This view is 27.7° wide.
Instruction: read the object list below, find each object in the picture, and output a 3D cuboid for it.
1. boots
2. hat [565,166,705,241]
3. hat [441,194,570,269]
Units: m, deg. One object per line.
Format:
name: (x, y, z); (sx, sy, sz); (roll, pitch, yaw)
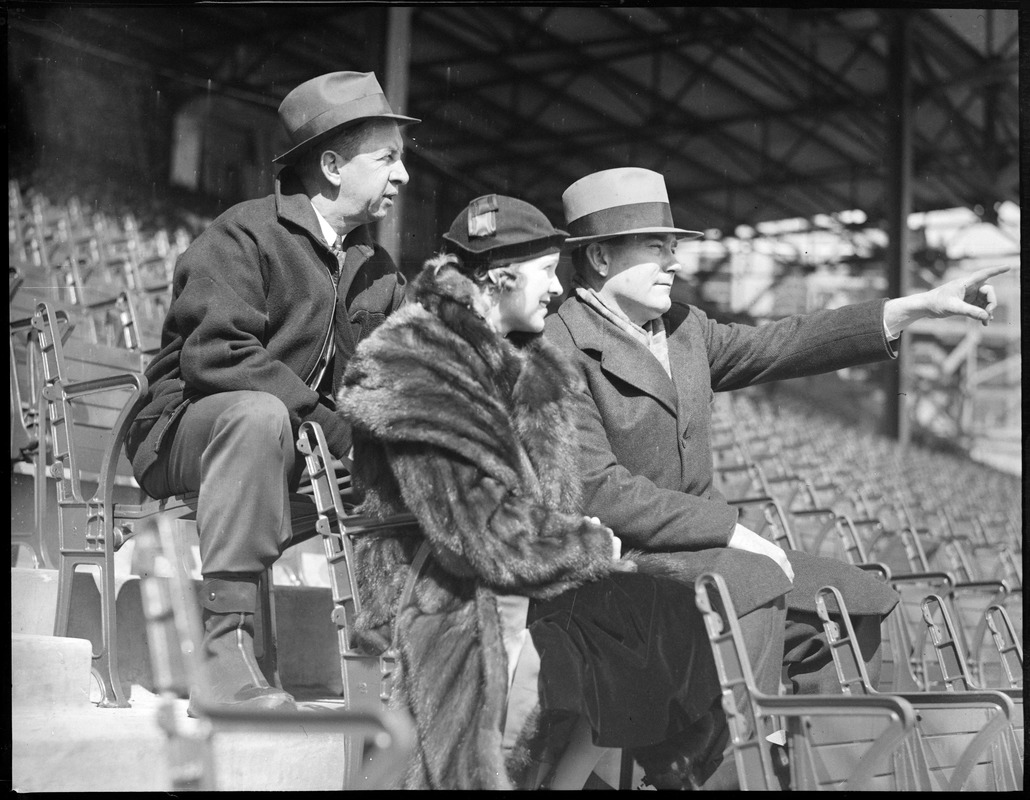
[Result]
boots: (-1.005, 0.926, 7.799); (0.267, 0.507, 0.535); (3, 1, -41)
hat: (0.420, -0.786, 8.548); (0.766, 0.265, 0.664); (-10, 4, 0)
hat: (-0.024, -0.665, 8.309); (0.529, 0.261, 0.607); (-5, 1, 22)
